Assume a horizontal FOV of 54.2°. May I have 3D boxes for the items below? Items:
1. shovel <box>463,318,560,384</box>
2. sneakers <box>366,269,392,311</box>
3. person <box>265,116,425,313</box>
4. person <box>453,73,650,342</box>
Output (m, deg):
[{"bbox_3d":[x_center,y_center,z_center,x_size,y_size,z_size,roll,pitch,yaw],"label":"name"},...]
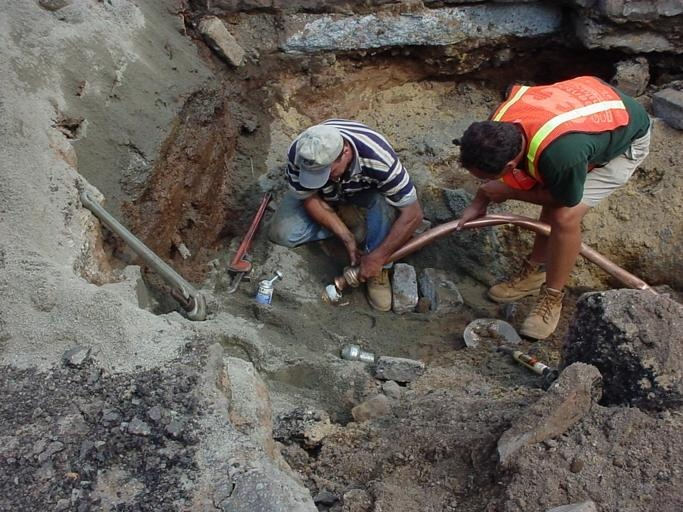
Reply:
[{"bbox_3d":[1.133,0.638,4.356,0.314,0.077,0.561,-31,47,-32],"label":"shovel"},{"bbox_3d":[0.268,0.242,4.831,0.157,0.146,0.345,-7,43,-7],"label":"sneakers"},{"bbox_3d":[0.096,-0.436,4.719,0.954,1.181,1.087,-34,56,-23],"label":"person"},{"bbox_3d":[1.367,-0.283,4.366,1.193,1.694,0.695,0,28,6],"label":"person"}]
